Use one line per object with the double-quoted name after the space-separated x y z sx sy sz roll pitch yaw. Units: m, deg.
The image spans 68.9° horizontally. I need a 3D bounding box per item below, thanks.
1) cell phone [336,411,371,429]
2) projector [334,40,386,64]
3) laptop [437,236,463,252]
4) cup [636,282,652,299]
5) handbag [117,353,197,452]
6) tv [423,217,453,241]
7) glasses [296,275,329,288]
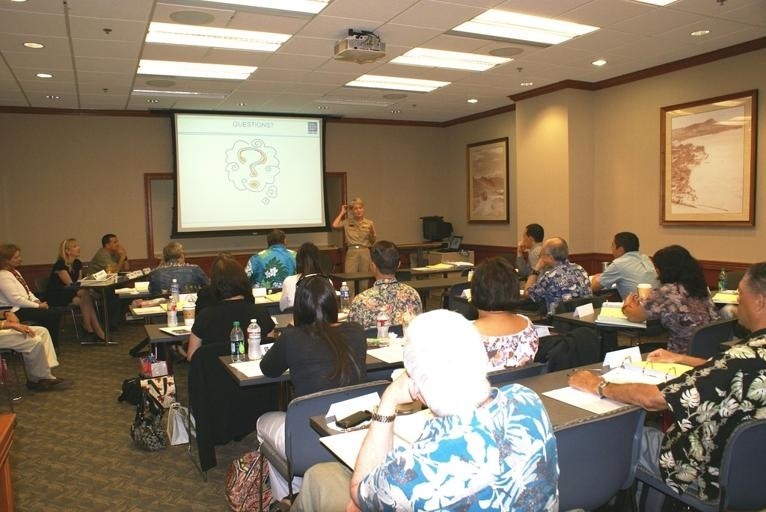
-0.177 1.010 3.463 0.167 0.037 0.088 -11 16 -37 "cell phone"
-0.286 -2.500 6.732 0.599 0.259 0.440 -5 14 -4 "projector"
1.464 -0.249 11.856 0.392 0.245 0.415 5 -4 -34 "laptop"
2.590 0.348 5.548 0.187 0.180 0.186 4 -4 0 "cup"
-2.131 1.311 5.190 0.708 0.861 0.410 -12 -2 -33 "handbag"
1.170 -0.638 12.193 0.564 0.572 0.575 -8 9 -43 "tv"
-0.543 0.190 4.241 0.174 0.053 0.173 -4 0 -33 "glasses"
